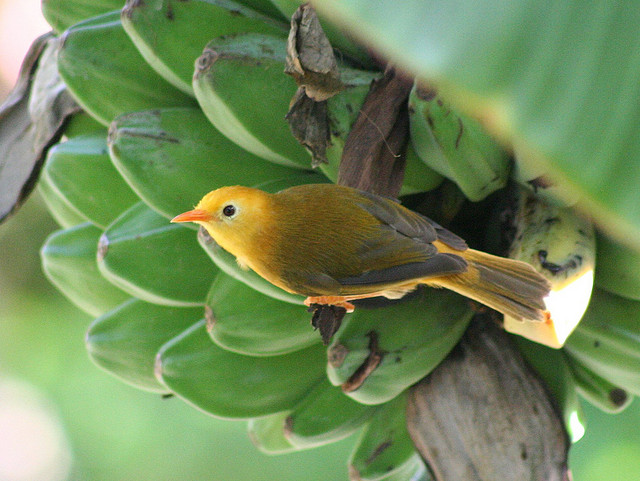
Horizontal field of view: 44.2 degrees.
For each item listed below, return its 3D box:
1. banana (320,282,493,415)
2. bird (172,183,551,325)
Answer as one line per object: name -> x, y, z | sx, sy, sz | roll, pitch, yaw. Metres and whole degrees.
banana -> 0.138, 0.172, 1.373 | 0.285, 0.191, 0.102 | -14, 20, -15
bird -> 0.106, 0.010, 1.328 | 0.565, 0.255, 0.209 | -1, 28, 5
